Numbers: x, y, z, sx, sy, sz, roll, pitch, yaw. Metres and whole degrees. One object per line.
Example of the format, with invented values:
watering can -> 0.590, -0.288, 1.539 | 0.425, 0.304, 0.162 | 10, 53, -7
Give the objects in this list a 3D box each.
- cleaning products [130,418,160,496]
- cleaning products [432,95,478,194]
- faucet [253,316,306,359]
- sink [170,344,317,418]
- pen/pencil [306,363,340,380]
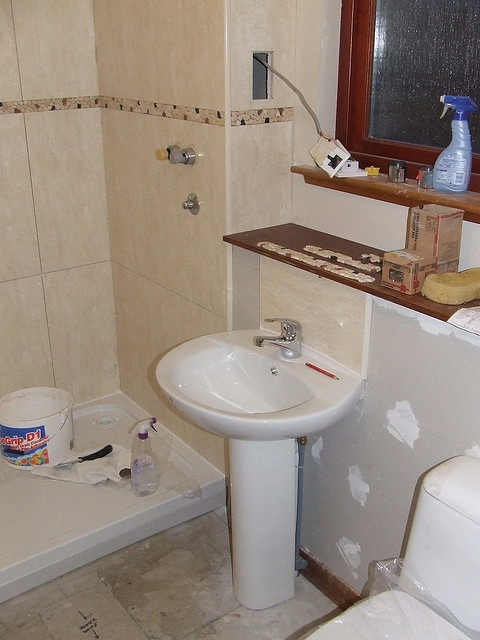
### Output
cleaning products -> -0.357, 0.436, 2.131 | 0.106, 0.232, 0.420 | -3, 20, -10
cleaning products -> 0.488, -0.395, 1.315 | 0.086, 0.207, 0.138 | 8, 22, 18
faucet -> 0.099, 0.052, 1.530 | 0.145, 0.103, 0.066 | -2, 14, -31
sink -> -0.016, 0.166, 1.472 | 0.309, 0.102, 0.442 | 1, 12, -32
pen/pencil -> 0.208, 0.134, 1.469 | 0.070, 0.008, 0.008 | 28, 41, 33
